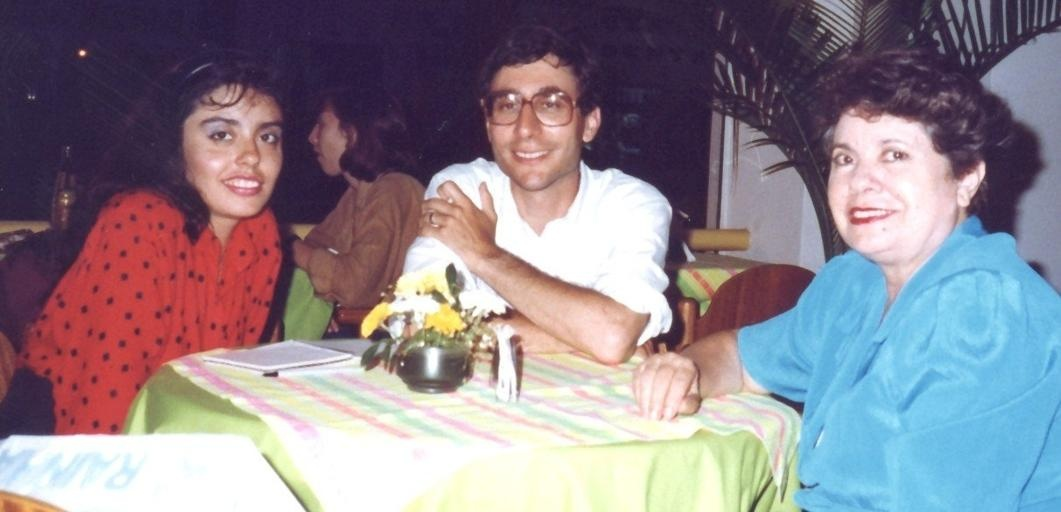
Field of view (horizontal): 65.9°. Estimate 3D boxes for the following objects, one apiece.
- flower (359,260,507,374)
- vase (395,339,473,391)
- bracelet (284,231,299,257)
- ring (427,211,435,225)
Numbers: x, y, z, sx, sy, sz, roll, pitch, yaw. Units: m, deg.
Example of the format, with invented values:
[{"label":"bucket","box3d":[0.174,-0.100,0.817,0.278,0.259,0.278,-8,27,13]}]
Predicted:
[{"label":"flower","box3d":[-0.486,0.317,4.126,0.630,0.268,0.660,11,-17,-44]},{"label":"vase","box3d":[-0.505,0.604,4.212,0.407,0.214,0.386,9,-16,-29]},{"label":"bracelet","box3d":[-1.814,-0.092,6.226,0.067,0.071,0.275,-31,24,-7]},{"label":"ring","box3d":[-0.575,-0.225,4.800,0.045,0.076,0.013,-3,-8,29]}]
